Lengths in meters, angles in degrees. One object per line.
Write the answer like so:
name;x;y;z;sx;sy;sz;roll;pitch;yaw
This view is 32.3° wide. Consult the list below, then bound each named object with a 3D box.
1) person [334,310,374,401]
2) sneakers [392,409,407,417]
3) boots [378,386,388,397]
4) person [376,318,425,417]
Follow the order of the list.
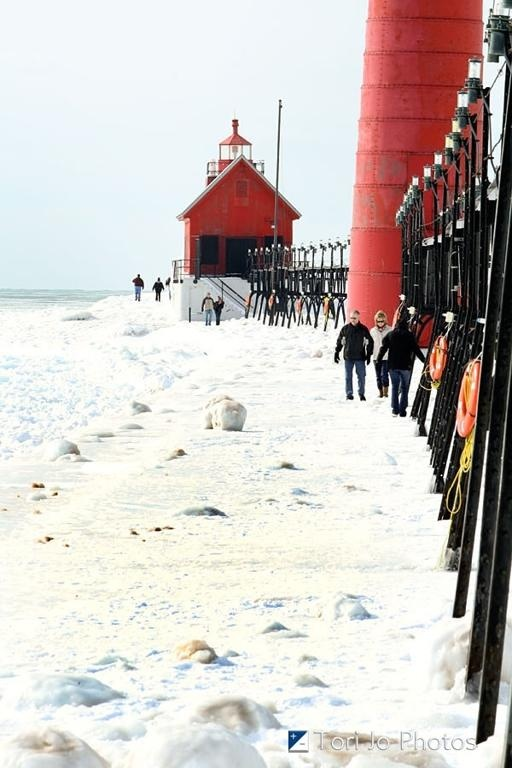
person;1.793;-0.506;16.195;0.655;1.632;1.579;0;3;6
sneakers;2.325;0.487;14.277;0.231;0.096;0.263;0;4;1
boots;2.415;0.155;16.749;0.172;0.258;0.196;-1;-6;2
person;2.376;-0.270;14.450;0.630;1.559;1.360;0;3;5
